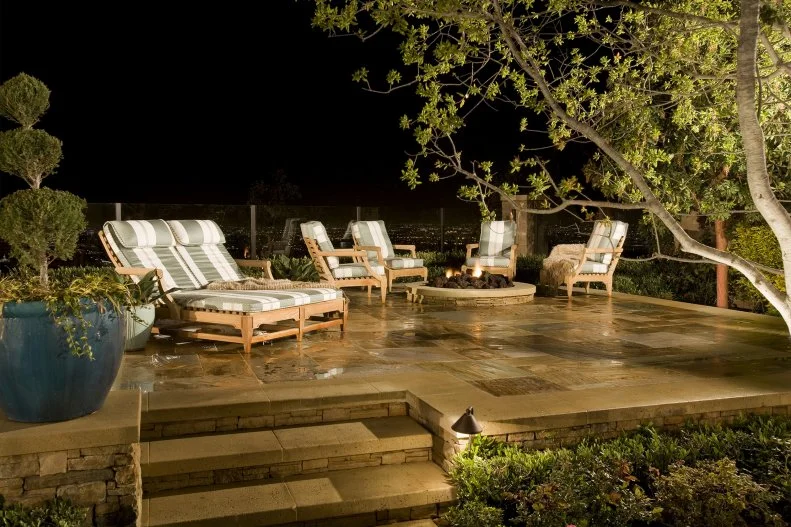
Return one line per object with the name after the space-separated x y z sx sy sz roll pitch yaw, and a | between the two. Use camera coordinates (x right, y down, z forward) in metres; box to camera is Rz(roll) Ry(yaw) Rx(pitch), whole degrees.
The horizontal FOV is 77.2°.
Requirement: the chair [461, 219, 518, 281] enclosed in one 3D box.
2.109 -0.220 10.716 1.244 1.294 1.290 -2 12 8 | chair

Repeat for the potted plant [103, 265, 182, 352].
-2.981 0.509 5.585 0.584 0.863 0.731 8 0 1 | potted plant

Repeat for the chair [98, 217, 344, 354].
-2.205 0.214 6.186 2.714 1.252 1.869 3 4 35 | chair

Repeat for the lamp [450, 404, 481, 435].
0.495 1.079 3.401 0.210 0.210 0.257 0 14 -2 | lamp

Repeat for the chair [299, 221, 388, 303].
-0.976 -0.063 9.057 1.571 1.198 1.027 4 4 -15 | chair

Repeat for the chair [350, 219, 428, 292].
-0.142 -0.208 10.261 0.968 1.123 1.328 -9 18 -43 | chair
